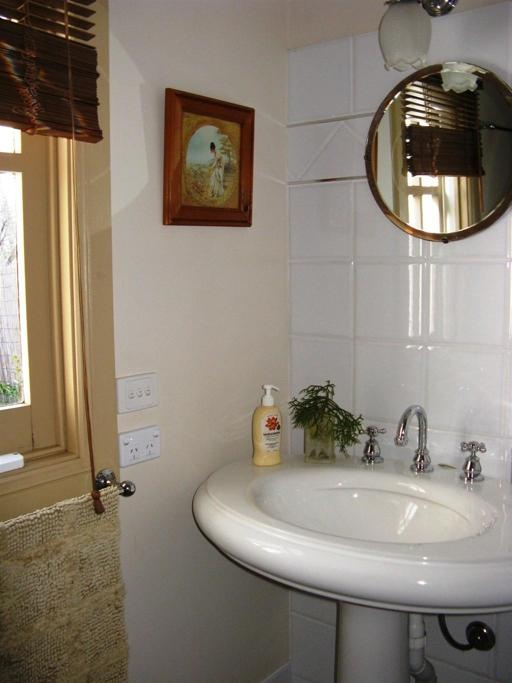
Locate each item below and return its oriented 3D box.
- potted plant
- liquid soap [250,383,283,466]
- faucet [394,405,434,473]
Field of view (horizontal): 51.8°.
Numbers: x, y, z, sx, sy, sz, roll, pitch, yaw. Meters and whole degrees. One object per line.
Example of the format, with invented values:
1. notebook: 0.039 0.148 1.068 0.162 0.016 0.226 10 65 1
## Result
1. potted plant: 0.167 0.213 1.356 0.184 0.216 0.192 2 -11 -2
2. liquid soap: 0.027 0.202 1.284 0.068 0.202 0.054 -3 10 -20
3. faucet: 0.318 0.219 1.137 0.093 0.171 0.098 8 11 24
